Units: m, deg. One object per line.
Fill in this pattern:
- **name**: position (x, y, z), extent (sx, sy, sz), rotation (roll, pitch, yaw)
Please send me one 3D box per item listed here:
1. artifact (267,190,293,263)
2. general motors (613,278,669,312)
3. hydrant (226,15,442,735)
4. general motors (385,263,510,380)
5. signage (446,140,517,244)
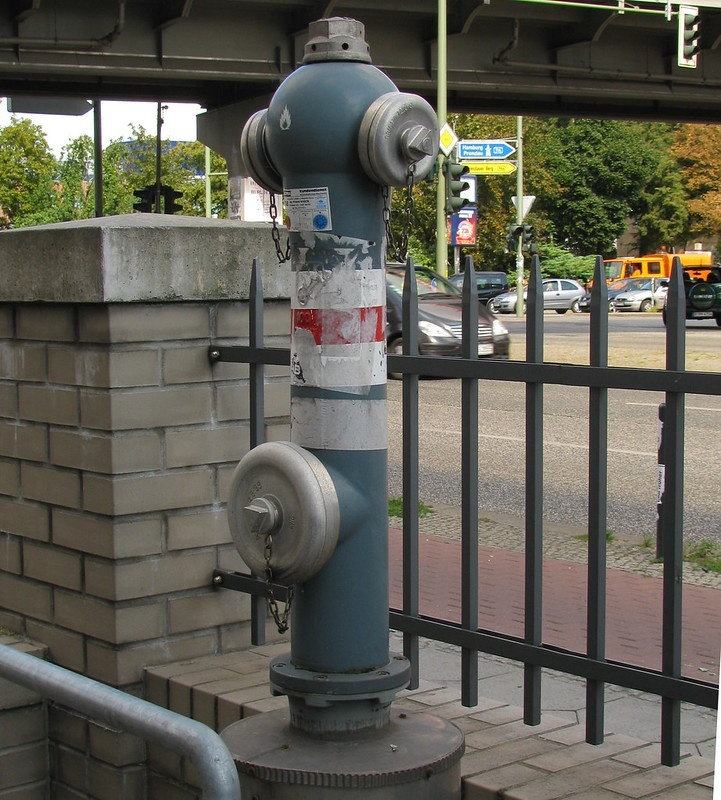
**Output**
- **artifact**: position (-0.247, -0.509, 3.207), extent (0.029, 0.216, 0.039), rotation (10, 34, 30)
- **general motors**: position (11.167, -4.209, 43.700), extent (1.934, 1.278, 0.980), rotation (0, 7, 16)
- **hydrant**: position (-0.067, -0.054, 2.714), extent (0.541, 1.737, 0.389), rotation (-1, 6, 8)
- **general motors**: position (0.581, -1.221, 16.089), extent (1.633, 1.516, 3.213), rotation (-9, 10, -37)
- **signage**: position (3.205, -5.570, 29.628), extent (0.237, 2.961, 2.213), rotation (1, 9, -42)
